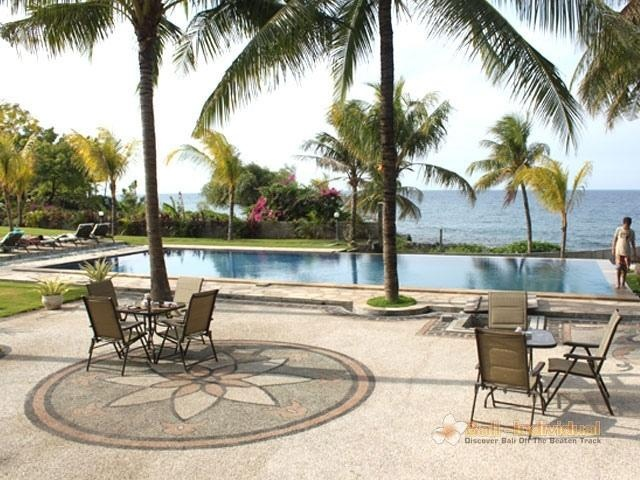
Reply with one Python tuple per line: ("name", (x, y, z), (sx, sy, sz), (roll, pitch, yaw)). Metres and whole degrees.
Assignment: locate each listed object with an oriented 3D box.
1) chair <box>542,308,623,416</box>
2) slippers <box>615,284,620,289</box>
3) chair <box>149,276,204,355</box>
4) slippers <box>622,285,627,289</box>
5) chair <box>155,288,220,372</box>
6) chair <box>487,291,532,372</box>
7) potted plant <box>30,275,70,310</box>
("chair", (3.758, 1.759, 7.218), (0.966, 1.316, 0.947), (2, 3, 42))
("slippers", (8.020, 1.279, 13.435), (0.041, 0.099, 0.129), (1, 0, -14))
("chair", (-2.940, 1.334, 10.225), (0.984, 1.637, 1.185), (3, -6, 19))
("slippers", (8.298, 1.316, 13.556), (0.130, 0.038, 0.115), (-20, 13, -39))
("chair", (-2.337, 1.491, 8.635), (0.876, 1.282, 0.841), (4, 3, 33))
("chair", (3.227, 1.635, 8.623), (0.822, 1.443, 0.971), (-5, -4, 42))
("potted plant", (-6.566, 1.338, 12.187), (0.503, 0.702, 0.665), (2, 5, 23))
